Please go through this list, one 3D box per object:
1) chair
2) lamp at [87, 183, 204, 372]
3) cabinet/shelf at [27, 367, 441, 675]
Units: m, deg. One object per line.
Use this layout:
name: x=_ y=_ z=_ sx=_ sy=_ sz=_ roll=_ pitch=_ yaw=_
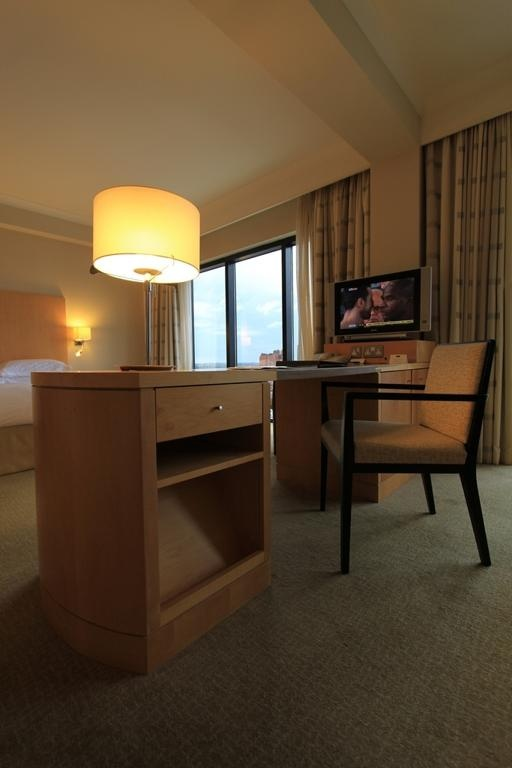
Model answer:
chair: x=0.467 y=0.187 z=1.861 sx=0.564 sy=0.705 sz=0.623 roll=2 pitch=4 yaw=19
lamp: x=-0.396 y=-0.488 z=1.929 sx=0.403 sy=0.413 sz=0.401 roll=-3 pitch=13 yaw=-9
cabinet/shelf: x=-0.276 y=0.255 z=1.497 sx=0.477 sy=0.684 sz=0.594 roll=10 pitch=17 yaw=40
